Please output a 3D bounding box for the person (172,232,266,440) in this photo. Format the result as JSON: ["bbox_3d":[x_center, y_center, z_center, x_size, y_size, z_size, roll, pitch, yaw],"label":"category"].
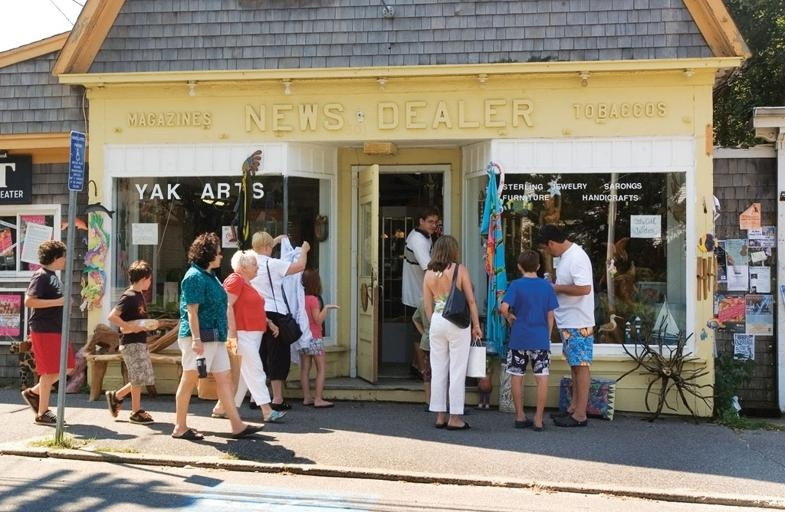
[{"bbox_3d":[-2.638,1.192,15.160,0.981,2.790,0.801,-3,13,-13],"label":"person"}]

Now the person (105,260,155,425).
[{"bbox_3d":[-3.827,1.263,16.041,0.710,2.412,0.988,0,13,-4],"label":"person"}]

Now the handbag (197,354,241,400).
[{"bbox_3d":[-2.495,1.730,15.533,0.758,0.933,0.347,1,-1,-5],"label":"handbag"}]

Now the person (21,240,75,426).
[{"bbox_3d":[-5.033,1.177,15.725,0.682,2.612,1.210,-3,14,-16],"label":"person"}]

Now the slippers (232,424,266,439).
[{"bbox_3d":[-2.030,2.479,15.323,0.481,0.168,0.168,-7,7,-13],"label":"slippers"}]

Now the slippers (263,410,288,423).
[{"bbox_3d":[-1.724,2.373,15.850,0.307,0.146,0.160,-14,-12,40],"label":"slippers"}]

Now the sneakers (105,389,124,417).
[{"bbox_3d":[-4.096,2.176,15.942,0.210,0.503,0.165,-6,15,-3],"label":"sneakers"}]

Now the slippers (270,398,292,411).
[{"bbox_3d":[-1.697,2.281,16.459,0.121,0.157,0.333,6,3,44],"label":"slippers"}]

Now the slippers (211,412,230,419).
[{"bbox_3d":[-2.605,2.410,16.260,0.233,0.103,0.082,2,-2,6],"label":"slippers"}]

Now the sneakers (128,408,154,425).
[{"bbox_3d":[-3.682,2.401,15.941,0.412,0.215,0.161,2,0,-2],"label":"sneakers"}]

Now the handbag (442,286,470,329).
[{"bbox_3d":[0.927,0.771,15.637,0.203,0.512,0.479,-2,-15,44],"label":"handbag"}]

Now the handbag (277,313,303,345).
[{"bbox_3d":[-1.574,1.113,16.350,0.202,0.417,0.337,-17,10,26],"label":"handbag"}]

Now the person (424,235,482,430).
[{"bbox_3d":[0.830,1.168,15.846,0.825,2.808,0.751,9,15,31],"label":"person"}]

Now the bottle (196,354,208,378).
[{"bbox_3d":[-2.640,1.532,14.968,0.158,0.316,0.330,-2,14,-10],"label":"bottle"}]

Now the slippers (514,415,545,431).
[{"bbox_3d":[2.010,2.491,15.895,0.439,0.177,0.170,-1,-2,-5],"label":"slippers"}]

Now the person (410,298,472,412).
[{"bbox_3d":[0.801,1.469,16.475,0.741,2.663,0.640,-1,-43,1],"label":"person"}]

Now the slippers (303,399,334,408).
[{"bbox_3d":[-1.134,2.317,16.785,0.475,0.235,0.166,-1,1,1],"label":"slippers"}]

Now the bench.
[{"bbox_3d":[-4.388,1.688,17.237,0.929,0.865,0.784,12,1,31],"label":"bench"}]

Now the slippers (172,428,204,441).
[{"bbox_3d":[-2.887,2.548,15.265,0.353,0.119,0.190,0,0,5],"label":"slippers"}]

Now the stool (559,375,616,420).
[{"bbox_3d":[2.977,2.196,16.645,0.906,0.758,0.549,0,-11,14],"label":"stool"}]
